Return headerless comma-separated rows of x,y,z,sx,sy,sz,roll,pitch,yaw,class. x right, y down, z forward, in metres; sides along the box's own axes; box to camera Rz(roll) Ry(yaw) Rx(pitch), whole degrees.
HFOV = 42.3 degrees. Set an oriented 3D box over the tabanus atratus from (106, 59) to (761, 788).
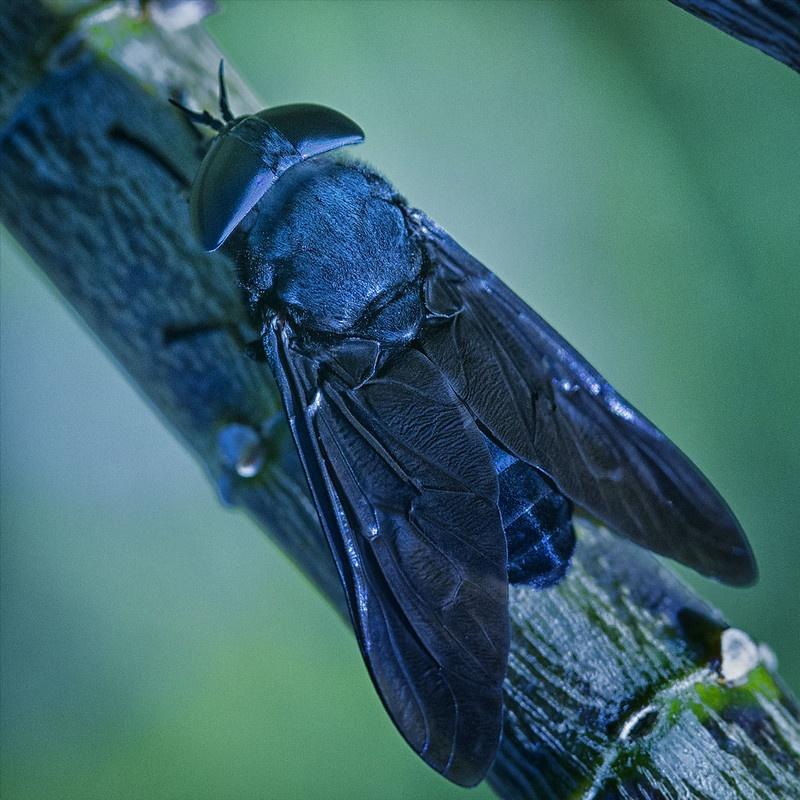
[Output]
-0.003,-0.050,1.367,0.584,0.273,0.955,-31,-90,-18,tabanus atratus
